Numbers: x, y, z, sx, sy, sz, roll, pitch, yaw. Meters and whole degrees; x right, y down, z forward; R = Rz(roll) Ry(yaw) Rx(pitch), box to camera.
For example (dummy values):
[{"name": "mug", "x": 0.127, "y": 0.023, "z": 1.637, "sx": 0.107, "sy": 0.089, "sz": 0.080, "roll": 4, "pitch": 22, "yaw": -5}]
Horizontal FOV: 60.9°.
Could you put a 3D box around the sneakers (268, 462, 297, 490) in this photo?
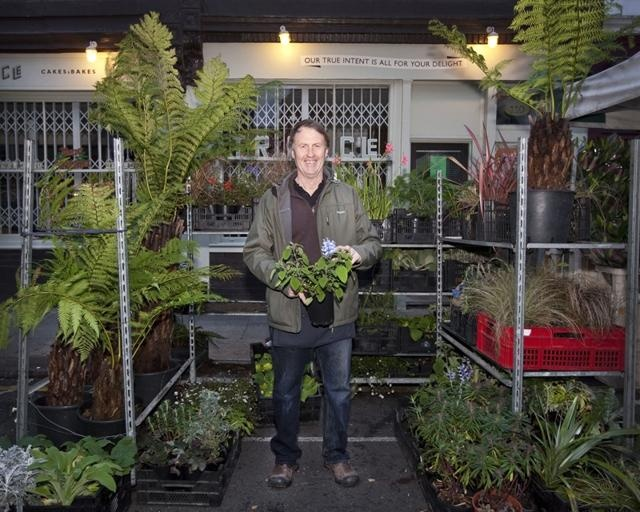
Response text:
[{"name": "sneakers", "x": -0.280, "y": 1.575, "z": 3.907, "sx": 0.094, "sy": 0.114, "sz": 0.246, "roll": -2, "pitch": -12, "yaw": 11}]

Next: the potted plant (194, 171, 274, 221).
[{"name": "potted plant", "x": -1.332, "y": -0.942, "z": 8.081, "sx": 0.831, "sy": 0.352, "sz": 0.826, "roll": 7, "pitch": 12, "yaw": 32}]

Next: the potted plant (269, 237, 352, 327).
[{"name": "potted plant", "x": -0.017, "y": 0.181, "z": 3.695, "sx": 0.512, "sy": 0.580, "sz": 0.564, "roll": -8, "pitch": 11, "yaw": -35}]

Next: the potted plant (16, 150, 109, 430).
[{"name": "potted plant", "x": -1.957, "y": 0.296, "z": 3.997, "sx": 0.650, "sy": 2.244, "sz": 1.012, "roll": -6, "pitch": 15, "yaw": -31}]

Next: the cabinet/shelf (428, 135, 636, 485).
[{"name": "cabinet/shelf", "x": 1.661, "y": 0.459, "z": 4.194, "sx": 0.801, "sy": 2.464, "sz": 2.559, "roll": 2, "pitch": 2, "yaw": -1}]

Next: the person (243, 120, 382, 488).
[{"name": "person", "x": -0.070, "y": 0.346, "z": 3.914, "sx": 0.955, "sy": 2.567, "sz": 0.657, "roll": 3, "pitch": 13, "yaw": 6}]

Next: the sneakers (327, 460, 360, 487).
[{"name": "sneakers", "x": 0.188, "y": 1.572, "z": 3.960, "sx": 0.107, "sy": 0.104, "sz": 0.234, "roll": 1, "pitch": -6, "yaw": -26}]
